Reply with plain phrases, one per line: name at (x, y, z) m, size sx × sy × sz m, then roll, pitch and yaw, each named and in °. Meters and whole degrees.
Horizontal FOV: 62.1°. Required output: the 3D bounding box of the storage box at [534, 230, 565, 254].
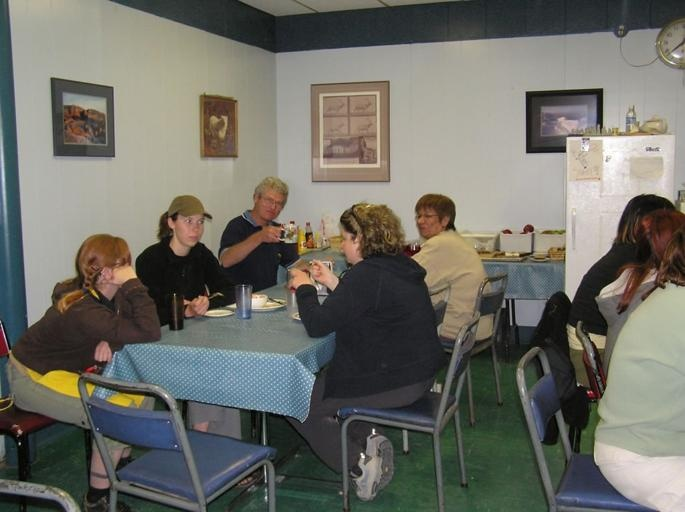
storage box at (1.891, -0.127, 5.198) m, size 0.269 × 0.190 × 0.353 m, roll 3°, pitch 9°, yaw 19°

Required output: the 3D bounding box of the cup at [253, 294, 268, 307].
cup at (-0.443, 0.242, 3.114) m, size 0.068 × 0.045 × 0.068 m, roll 0°, pitch 8°, yaw 0°

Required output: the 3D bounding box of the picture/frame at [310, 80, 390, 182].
picture/frame at (0.119, -1.291, 5.743) m, size 0.923 × 1.231 × 0.049 m, roll 2°, pitch 8°, yaw 15°

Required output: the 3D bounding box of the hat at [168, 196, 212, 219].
hat at (-0.898, -0.263, 3.319) m, size 0.198 × 0.111 × 0.153 m, roll 1°, pitch 3°, yaw 22°

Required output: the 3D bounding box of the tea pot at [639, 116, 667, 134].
tea pot at (2.515, -1.037, 4.576) m, size 0.173 × 0.097 × 0.144 m, roll -7°, pitch 28°, yaw -17°

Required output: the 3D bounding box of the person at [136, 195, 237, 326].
person at (-0.930, 0.094, 3.427) m, size 0.539 × 0.896 × 0.474 m, roll -4°, pitch 14°, yaw -39°

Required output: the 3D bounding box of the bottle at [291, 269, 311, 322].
bottle at (-0.199, 0.214, 2.840) m, size 0.084 × 0.148 × 0.086 m, roll 1°, pitch -5°, yaw 0°

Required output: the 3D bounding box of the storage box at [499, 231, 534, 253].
storage box at (1.598, -0.114, 5.191) m, size 0.305 × 0.180 × 0.203 m, roll 3°, pitch 9°, yaw 18°

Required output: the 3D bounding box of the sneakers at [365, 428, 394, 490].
sneakers at (0.195, 0.948, 2.699) m, size 0.123 × 0.300 × 0.112 m, roll 8°, pitch 9°, yaw 39°

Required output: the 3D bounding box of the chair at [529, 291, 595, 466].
chair at (1.070, 0.534, 2.739) m, size 0.268 × 0.830 × 0.589 m, roll 0°, pitch 8°, yaw 13°

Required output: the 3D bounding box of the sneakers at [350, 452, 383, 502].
sneakers at (0.124, 1.048, 2.691) m, size 0.123 × 0.296 × 0.087 m, roll 4°, pitch 7°, yaw 3°

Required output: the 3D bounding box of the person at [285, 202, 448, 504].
person at (0.088, 0.472, 2.834) m, size 0.845 × 1.439 × 0.605 m, roll -1°, pitch -3°, yaw 37°

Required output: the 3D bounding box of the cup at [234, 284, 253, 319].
cup at (-0.503, 0.230, 2.926) m, size 0.107 × 0.169 × 0.106 m, roll -7°, pitch 7°, yaw 1°

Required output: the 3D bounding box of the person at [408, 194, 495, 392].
person at (0.744, 0.176, 3.964) m, size 0.814 × 1.264 × 0.513 m, roll 13°, pitch 28°, yaw 36°

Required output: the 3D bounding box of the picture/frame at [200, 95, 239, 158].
picture/frame at (-1.085, -1.144, 5.043) m, size 0.043 × 0.512 × 0.522 m, roll 4°, pitch 11°, yaw 22°
